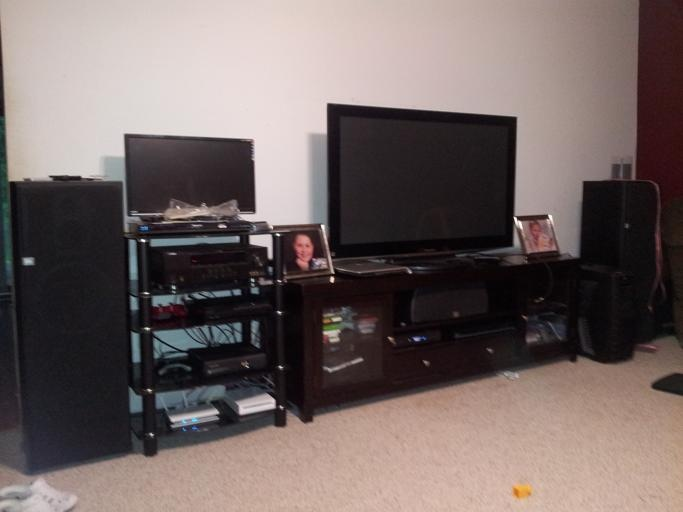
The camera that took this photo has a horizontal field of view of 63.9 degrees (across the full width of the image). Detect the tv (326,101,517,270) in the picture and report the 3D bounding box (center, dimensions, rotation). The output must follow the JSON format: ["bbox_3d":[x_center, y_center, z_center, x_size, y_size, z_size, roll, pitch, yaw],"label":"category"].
[{"bbox_3d":[0.488,-0.467,3.609,1.187,0.744,0.092,-3,7,-28],"label":"tv"}]

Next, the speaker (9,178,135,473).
[{"bbox_3d":[-1.358,0.416,2.871,0.709,1.767,0.579,1,-7,-30],"label":"speaker"}]

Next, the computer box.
[{"bbox_3d":[2.008,0.438,4.118,0.433,0.622,0.417,1,4,26],"label":"computer box"}]

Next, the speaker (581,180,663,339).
[{"bbox_3d":[2.264,-0.013,4.577,0.433,1.147,0.600,1,12,43],"label":"speaker"}]

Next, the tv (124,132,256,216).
[{"bbox_3d":[-0.810,-0.439,2.990,0.731,0.427,0.062,-6,14,-37],"label":"tv"}]

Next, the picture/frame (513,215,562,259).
[{"bbox_3d":[1.434,-0.146,3.992,0.387,0.324,0.027,-5,-10,-29],"label":"picture/frame"}]

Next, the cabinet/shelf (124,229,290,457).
[{"bbox_3d":[-0.735,0.171,3.006,0.830,1.046,0.518,-2,7,-21],"label":"cabinet/shelf"}]

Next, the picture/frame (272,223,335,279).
[{"bbox_3d":[-0.227,-0.030,3.237,0.355,0.335,0.025,-4,-11,-32],"label":"picture/frame"}]

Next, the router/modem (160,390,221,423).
[{"bbox_3d":[-0.858,0.850,3.067,0.224,0.088,0.297,-2,5,-27],"label":"router/modem"}]
